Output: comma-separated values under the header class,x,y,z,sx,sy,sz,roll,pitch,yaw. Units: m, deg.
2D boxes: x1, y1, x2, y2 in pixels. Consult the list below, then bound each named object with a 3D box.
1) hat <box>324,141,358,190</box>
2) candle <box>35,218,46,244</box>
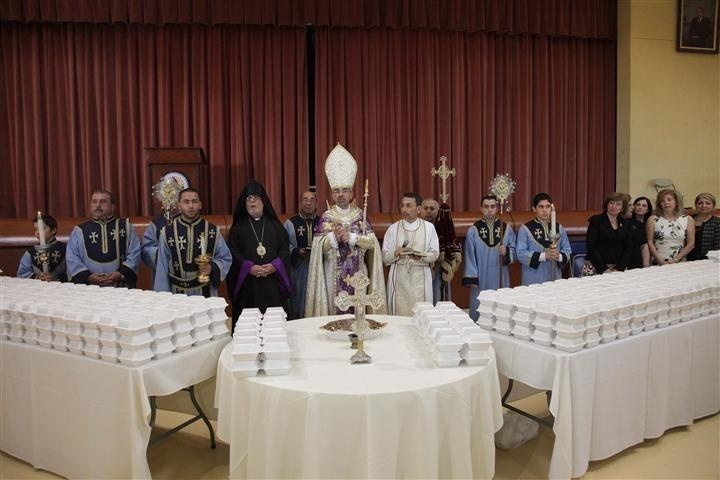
class,x,y,z,sx,sy,sz,roll,pitch,yaw
hat,-0.238,-0.876,7.253,0.352,0.541,0.174,-9,4,-1
candle,-3.466,-0.116,6.624,0.058,0.306,0.452,-8,8,-28
